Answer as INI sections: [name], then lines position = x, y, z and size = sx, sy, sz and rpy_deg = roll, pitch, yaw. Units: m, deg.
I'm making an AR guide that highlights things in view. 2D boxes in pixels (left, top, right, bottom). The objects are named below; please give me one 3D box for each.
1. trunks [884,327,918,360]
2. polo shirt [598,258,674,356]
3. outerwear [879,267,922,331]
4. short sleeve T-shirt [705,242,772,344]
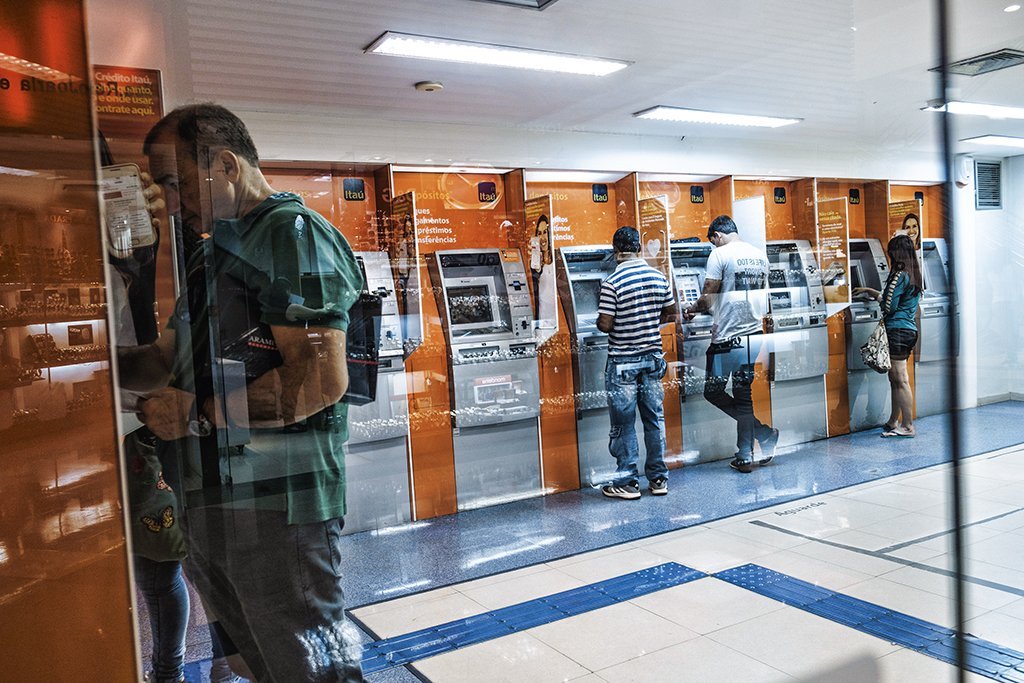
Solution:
[trunks]
position = 2.972, -0.013, 5.152
size = 0.235, 0.214, 0.322
rpy_deg = 5, 4, 38
[polo shirt]
position = 0.817, -0.235, 4.519
size = 0.620, 0.637, 0.385
rpy_deg = -5, 14, -16
[outerwear]
position = 2.900, -0.357, 5.035
size = 0.262, 0.448, 0.376
rpy_deg = 4, 20, 28
[short sleeve T-shirt]
position = 1.593, -0.376, 4.704
size = 0.597, 0.686, 0.279
rpy_deg = -6, 26, -7
